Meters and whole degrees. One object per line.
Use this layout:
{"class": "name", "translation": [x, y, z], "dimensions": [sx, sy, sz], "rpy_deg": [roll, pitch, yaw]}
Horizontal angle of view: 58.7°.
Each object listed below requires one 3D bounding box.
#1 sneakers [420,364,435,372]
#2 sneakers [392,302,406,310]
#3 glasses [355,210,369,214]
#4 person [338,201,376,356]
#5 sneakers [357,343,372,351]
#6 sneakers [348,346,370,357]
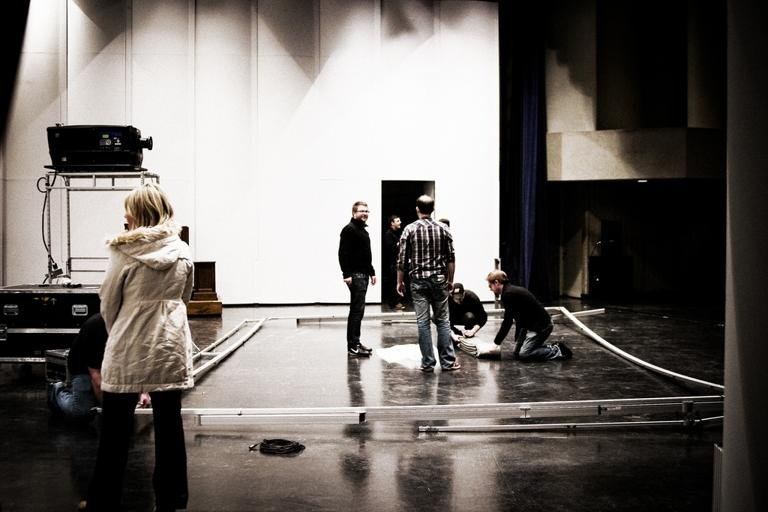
{"class": "sneakers", "translation": [0.489, 1.334, 8.126], "dimensions": [0.163, 0.081, 0.150], "rpy_deg": [0, 14, 1]}
{"class": "sneakers", "translation": [0.243, 0.972, 12.912], "dimensions": [0.086, 0.105, 0.274], "rpy_deg": [4, -16, -19]}
{"class": "glasses", "translation": [-0.307, -0.551, 8.658], "dimensions": [0.137, 0.057, 0.047], "rpy_deg": [-8, 17, -28]}
{"class": "person", "translation": [-0.388, 0.325, 8.844], "dimensions": [0.439, 2.028, 0.713], "rpy_deg": [-1, 15, -4]}
{"class": "sneakers", "translation": [-0.292, 1.204, 8.876], "dimensions": [0.222, 0.084, 0.077], "rpy_deg": [21, -1, 4]}
{"class": "sneakers", "translation": [-0.361, 1.246, 8.817], "dimensions": [0.297, 0.122, 0.102], "rpy_deg": [-1, -4, 14]}
